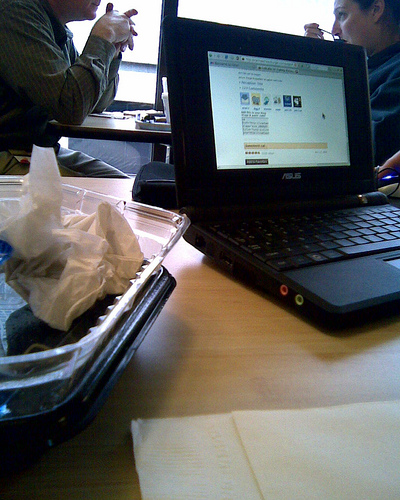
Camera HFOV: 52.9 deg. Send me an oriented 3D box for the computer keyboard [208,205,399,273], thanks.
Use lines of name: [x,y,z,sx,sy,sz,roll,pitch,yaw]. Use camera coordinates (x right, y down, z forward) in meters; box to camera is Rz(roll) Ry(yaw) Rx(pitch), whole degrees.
computer keyboard: [0.153,-0.021,0.423,0.292,0.019,0.119,-9,17,-31]
